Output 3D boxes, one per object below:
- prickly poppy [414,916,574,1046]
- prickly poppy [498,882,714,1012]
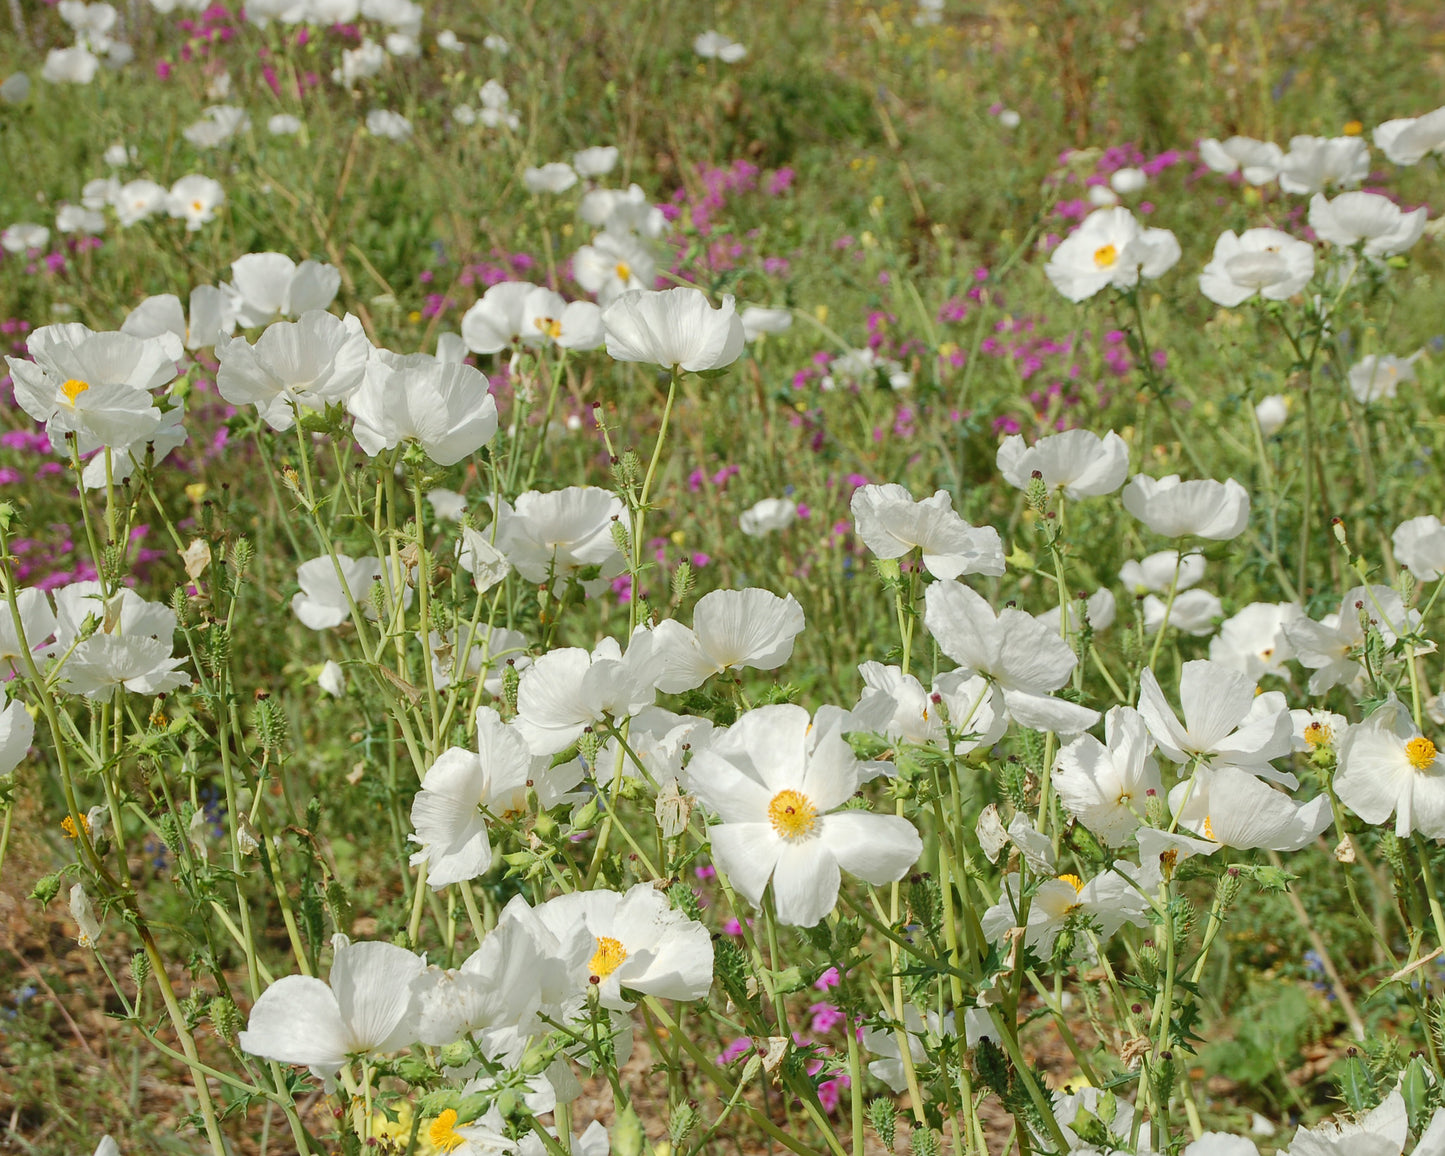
[{"bbox_3d":[-0.315,0.556,2.222,0.212,0.162,0.129,-28,66,-23],"label":"prickly poppy"},{"bbox_3d":[-0.146,0.522,2.282,0.187,0.097,0.198,9,27,-4],"label":"prickly poppy"}]
